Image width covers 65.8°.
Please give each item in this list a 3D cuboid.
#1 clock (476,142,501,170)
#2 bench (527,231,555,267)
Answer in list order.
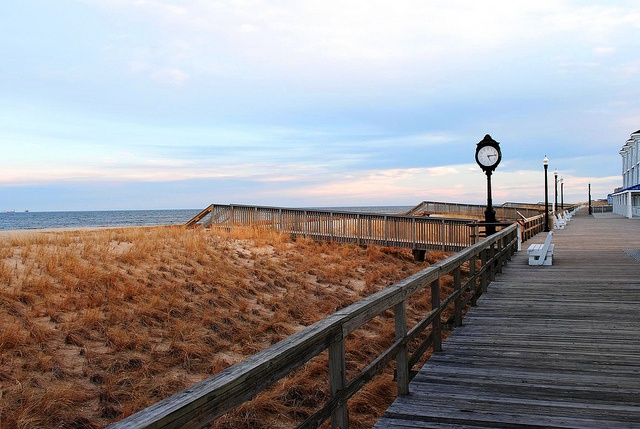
[{"bbox_3d":[5.873,-1.983,17.332,0.770,0.851,0.304,1,10,14],"label":"clock"},{"bbox_3d":[6.062,0.959,13.608,0.609,0.780,1.344,3,9,24],"label":"bench"}]
